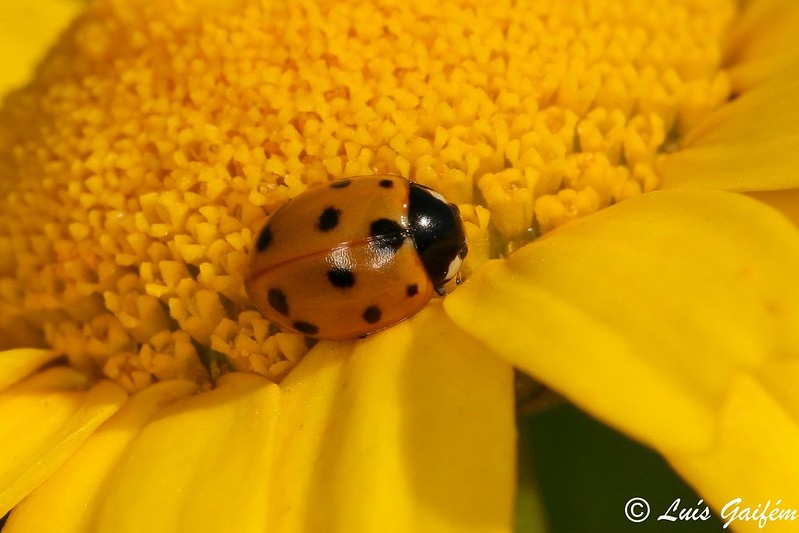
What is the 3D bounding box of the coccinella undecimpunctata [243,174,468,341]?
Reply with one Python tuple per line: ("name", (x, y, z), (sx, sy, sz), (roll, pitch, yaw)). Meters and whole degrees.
("coccinella undecimpunctata", (-0.078, -0.010, 1.301), (0.387, 0.188, 0.211), (-16, 44, 6))
